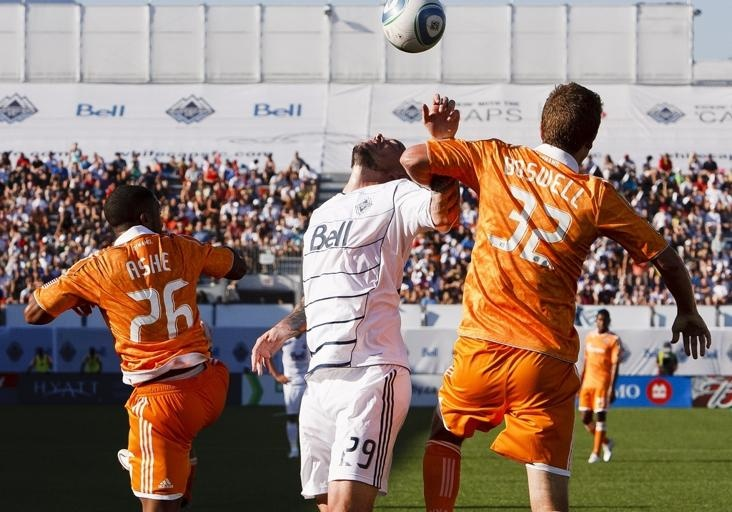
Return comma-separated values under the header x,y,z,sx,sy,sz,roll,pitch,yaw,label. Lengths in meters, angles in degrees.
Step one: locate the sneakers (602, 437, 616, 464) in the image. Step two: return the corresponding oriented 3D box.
x,y,z,sx,sy,sz,roll,pitch,yaw,label
5.929,4.843,45.345,0.271,0.642,0.215,22,-12,-39,sneakers
